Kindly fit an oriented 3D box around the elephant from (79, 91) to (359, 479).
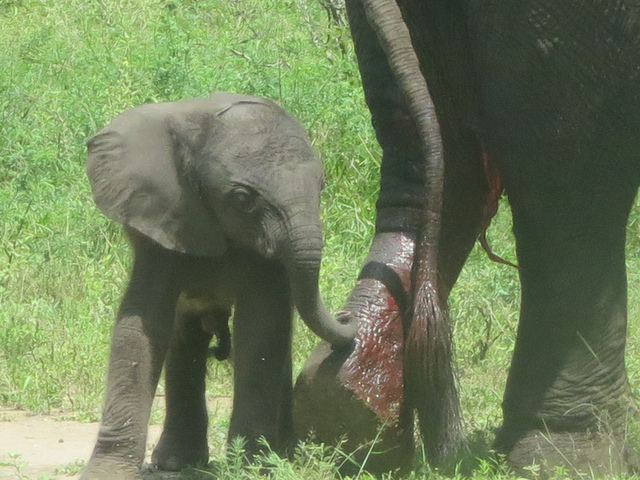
[{"bbox_3d":[-0.345,0.173,3.701,1.015,1.563,0.717,-2,-13,19],"label":"elephant"}]
